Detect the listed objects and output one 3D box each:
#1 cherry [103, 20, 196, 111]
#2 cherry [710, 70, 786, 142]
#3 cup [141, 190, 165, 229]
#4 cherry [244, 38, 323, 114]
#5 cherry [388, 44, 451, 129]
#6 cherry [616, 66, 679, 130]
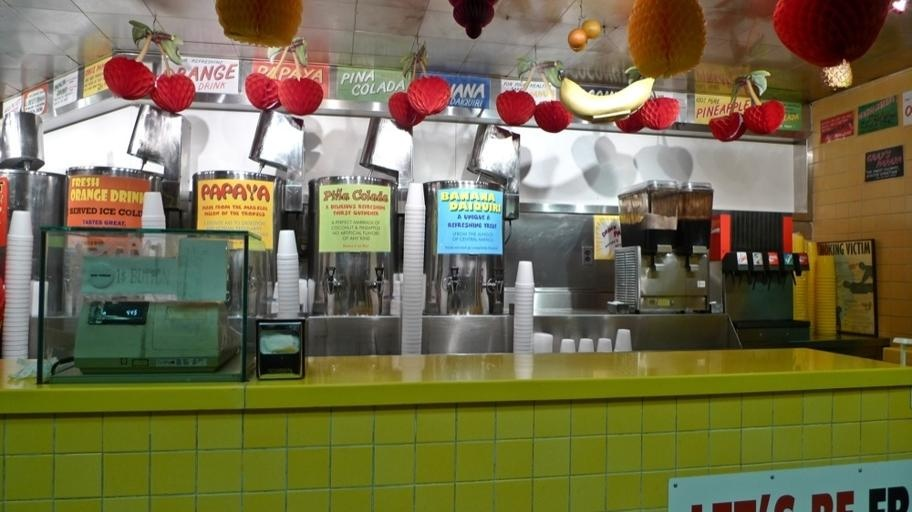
[{"bbox_3d":[-2.569,-1.557,5.668,0.618,0.843,0.989,4,-7,-31],"label":"cherry"},{"bbox_3d":[2.461,-1.290,5.846,0.293,0.537,0.616,-1,-2,-30],"label":"cherry"},{"bbox_3d":[-2.126,-0.325,4.841,0.135,0.253,0.167,3,-7,-23],"label":"cup"},{"bbox_3d":[-1.391,-1.464,5.616,0.681,0.578,0.345,7,-4,11],"label":"cherry"},{"bbox_3d":[-0.305,-1.436,5.684,0.313,0.727,0.676,18,-15,-32],"label":"cherry"},{"bbox_3d":[1.579,-1.240,5.723,0.684,0.346,0.372,-3,0,-2],"label":"cherry"}]
